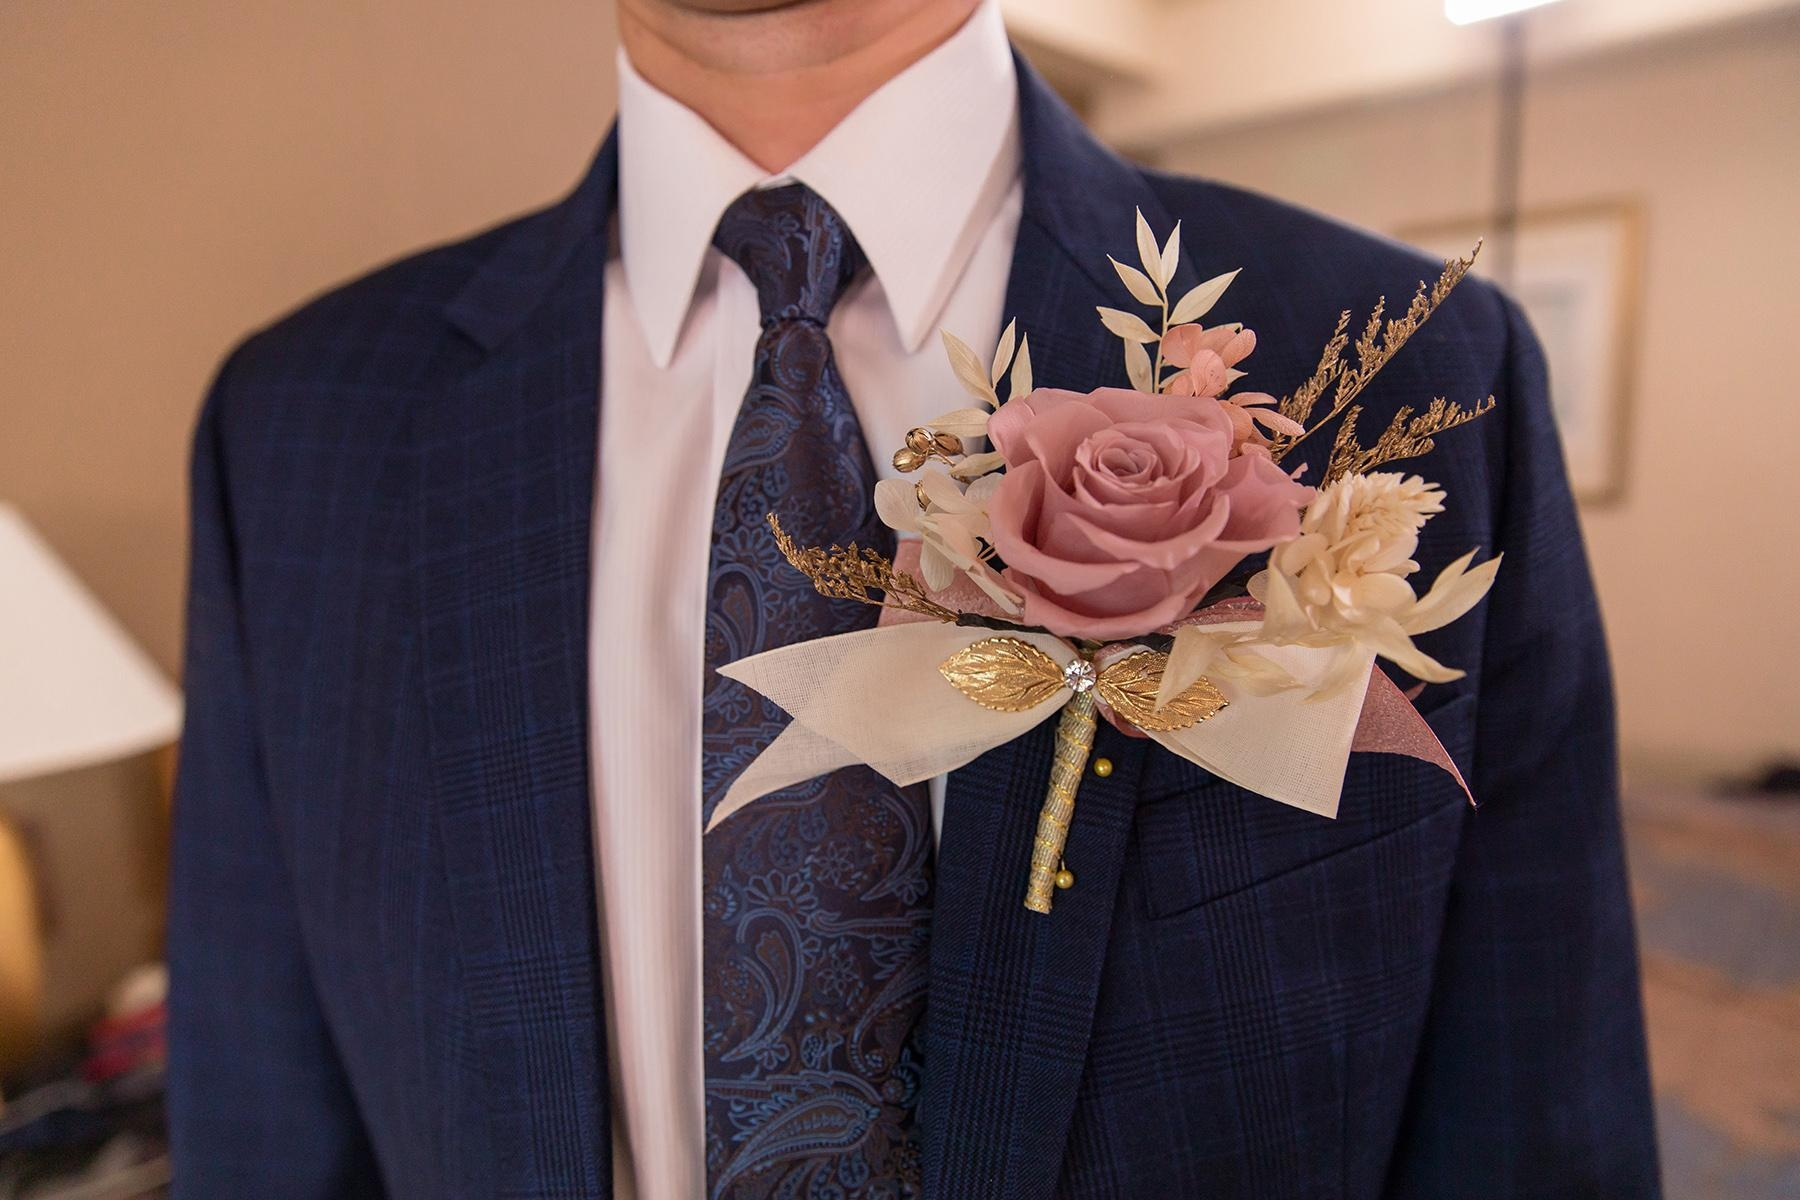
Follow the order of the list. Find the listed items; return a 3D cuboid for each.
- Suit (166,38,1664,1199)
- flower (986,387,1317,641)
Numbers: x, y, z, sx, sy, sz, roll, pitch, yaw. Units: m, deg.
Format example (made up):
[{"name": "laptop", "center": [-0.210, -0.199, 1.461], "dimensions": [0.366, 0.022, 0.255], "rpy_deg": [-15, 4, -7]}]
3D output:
[{"name": "Suit", "center": [0.038, 0.062, 1.714], "dimensions": [1.320, 0.985, 0.504], "rpy_deg": [-2, -5, 8]}, {"name": "flower", "center": [0.208, -0.096, 1.509], "dimensions": [0.219, 0.236, 0.127], "rpy_deg": [36, -7, 10]}]
